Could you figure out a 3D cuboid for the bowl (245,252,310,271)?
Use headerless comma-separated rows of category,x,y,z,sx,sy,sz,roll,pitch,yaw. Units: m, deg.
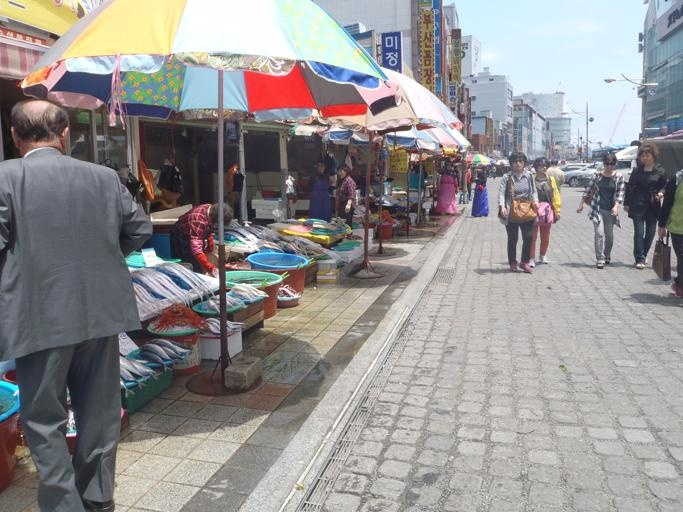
bowl,-0.909,0.076,8.307,0.409,0.148,0.427,1,9,0

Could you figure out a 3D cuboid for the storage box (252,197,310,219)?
storage box,-1.750,-1.266,15.928,0.809,0.595,1.192,0,1,21

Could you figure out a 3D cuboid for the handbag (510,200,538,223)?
handbag,3.077,-0.735,9.898,0.435,0.411,0.264,2,11,16

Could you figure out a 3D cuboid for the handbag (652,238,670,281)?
handbag,4.957,0.086,9.083,0.210,0.708,0.604,1,11,20

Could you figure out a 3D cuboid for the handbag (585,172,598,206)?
handbag,4.573,-1.213,10.689,0.171,0.513,0.355,4,0,19

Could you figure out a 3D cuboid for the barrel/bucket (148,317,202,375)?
barrel/bucket,-1.669,0.902,5.893,0.507,0.414,0.510,1,10,0

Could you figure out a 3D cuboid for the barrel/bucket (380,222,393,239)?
barrel/bucket,1.182,-0.624,15.196,0.411,0.428,0.429,0,4,0

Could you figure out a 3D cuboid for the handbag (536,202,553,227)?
handbag,3.608,-0.748,10.418,0.192,0.347,0.368,-5,5,8

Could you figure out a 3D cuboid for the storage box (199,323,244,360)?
storage box,-1.259,0.918,6.171,0.384,0.254,0.400,1,2,21
